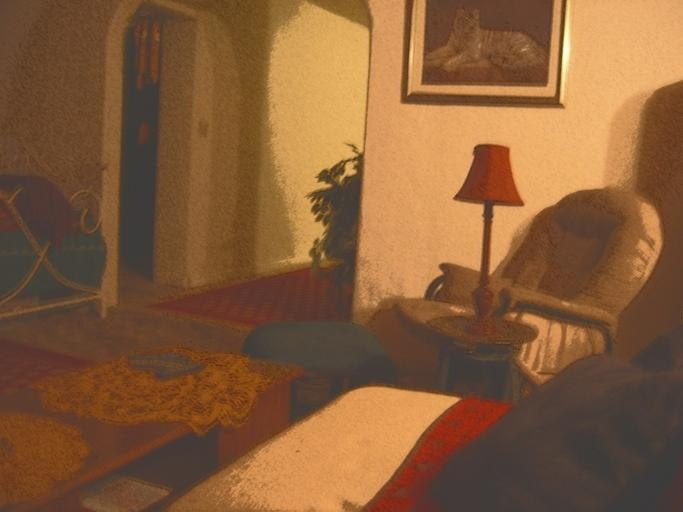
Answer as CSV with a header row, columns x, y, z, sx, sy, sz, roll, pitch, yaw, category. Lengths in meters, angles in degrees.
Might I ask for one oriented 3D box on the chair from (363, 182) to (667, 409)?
x,y,z,sx,sy,sz,roll,pitch,yaw,category
0.502,0.181,2.027,0.769,0.834,0.571,6,6,-10,chair
